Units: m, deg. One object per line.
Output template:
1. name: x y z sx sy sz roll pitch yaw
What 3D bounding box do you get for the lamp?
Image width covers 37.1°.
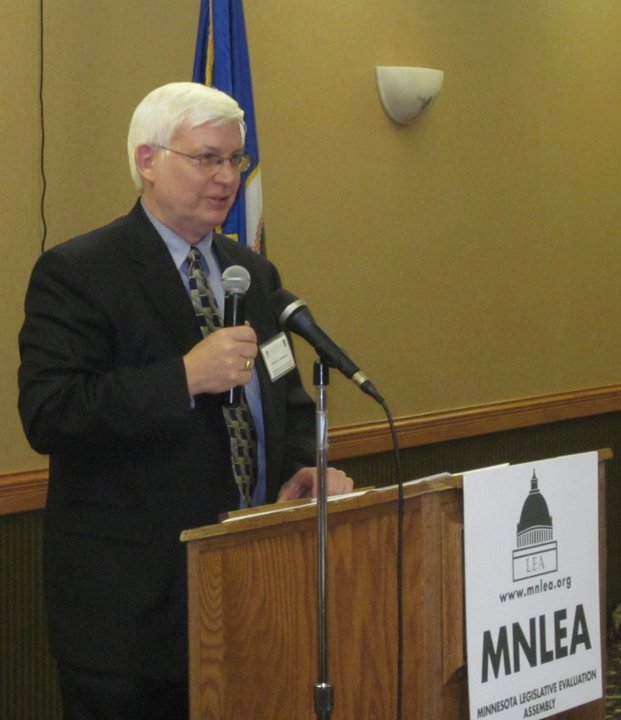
1. lamp: 0.341 -0.968 3.342 0.247 0.202 0.046 -2 15 -29

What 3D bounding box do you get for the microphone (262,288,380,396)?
1. microphone: 0.026 -0.028 1.546 0.136 0.215 0.168 1 -10 -27
